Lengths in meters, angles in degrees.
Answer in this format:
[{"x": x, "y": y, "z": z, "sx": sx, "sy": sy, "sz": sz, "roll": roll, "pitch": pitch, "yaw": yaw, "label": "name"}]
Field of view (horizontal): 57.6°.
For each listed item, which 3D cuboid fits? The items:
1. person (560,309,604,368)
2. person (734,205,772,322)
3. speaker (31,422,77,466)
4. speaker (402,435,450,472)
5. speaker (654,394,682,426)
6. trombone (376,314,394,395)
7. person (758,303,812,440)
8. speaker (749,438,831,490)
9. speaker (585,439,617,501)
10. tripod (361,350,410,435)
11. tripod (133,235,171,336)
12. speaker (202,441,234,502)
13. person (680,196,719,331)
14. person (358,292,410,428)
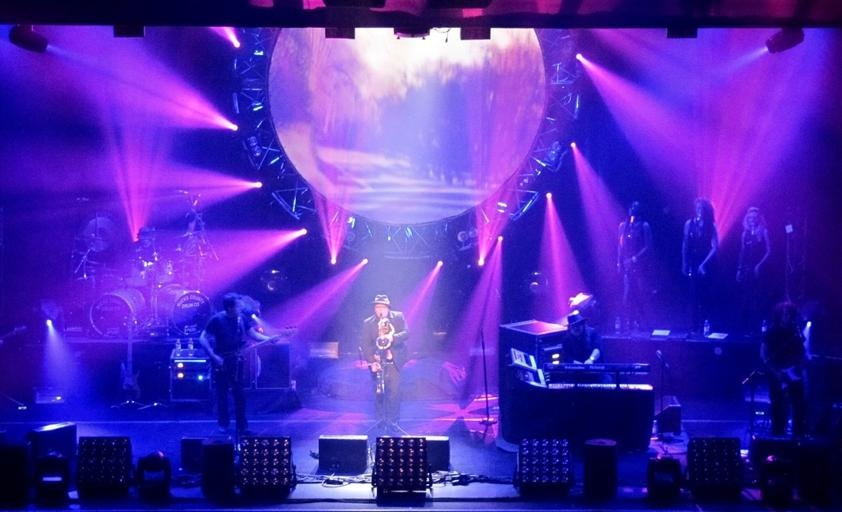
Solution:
[{"x": 3.221, "y": 1.632, "z": 15.186, "sx": 0.862, "sy": 1.174, "sz": 0.527, "roll": 2, "pitch": -1, "yaw": 1, "label": "person"}, {"x": 7.071, "y": 0.262, "z": 16.326, "sx": 0.652, "sy": 2.394, "sz": 0.466, "roll": 1, "pitch": 2, "yaw": 12, "label": "person"}, {"x": -6.643, "y": 3.405, "z": 14.186, "sx": 0.859, "sy": 0.774, "sz": 0.852, "roll": 3, "pitch": -7, "yaw": -2, "label": "speaker"}, {"x": 0.074, "y": 3.397, "z": 13.088, "sx": 0.829, "sy": 0.708, "sz": 0.427, "roll": 0, "pitch": -1, "yaw": 1, "label": "speaker"}, {"x": 4.838, "y": 3.156, "z": 15.019, "sx": 0.489, "sy": 0.527, "sz": 0.872, "roll": -1, "pitch": -5, "yaw": 13, "label": "speaker"}, {"x": -0.592, "y": 1.935, "z": 14.906, "sx": 0.373, "sy": 1.287, "sz": 0.468, "roll": 0, "pitch": -10, "yaw": 1, "label": "trombone"}, {"x": 6.696, "y": 2.104, "z": 14.303, "sx": 0.851, "sy": 2.412, "sz": 0.920, "roll": 4, "pitch": -3, "yaw": -44, "label": "person"}, {"x": 6.216, "y": 3.449, "z": 12.965, "sx": 1.397, "sy": 0.708, "sz": 0.696, "roll": -1, "pitch": -3, "yaw": -1, "label": "speaker"}, {"x": 2.991, "y": 3.569, "z": 12.766, "sx": 0.554, "sy": 0.977, "sz": 0.267, "roll": -2, "pitch": -12, "yaw": 1, "label": "speaker"}, {"x": -0.696, "y": 2.721, "z": 15.054, "sx": 0.663, "sy": 1.521, "sz": 0.777, "roll": 4, "pitch": -4, "yaw": -6, "label": "tripod"}, {"x": -6.104, "y": 0.604, "z": 17.674, "sx": 0.848, "sy": 2.305, "sz": 0.742, "roll": 3, "pitch": -1, "yaw": 13, "label": "tripod"}, {"x": -3.373, "y": 3.611, "z": 12.821, "sx": 0.534, "sy": 1.008, "sz": 0.300, "roll": 2, "pitch": -12, "yaw": -14, "label": "speaker"}, {"x": 6.128, "y": 0.159, "z": 16.981, "sx": 0.752, "sy": 2.877, "sz": 0.628, "roll": 3, "pitch": 2, "yaw": 11, "label": "person"}, {"x": -0.785, "y": 2.042, "z": 15.170, "sx": 0.895, "sy": 2.579, "sz": 1.093, "roll": 4, "pitch": -4, "yaw": -19, "label": "person"}]
